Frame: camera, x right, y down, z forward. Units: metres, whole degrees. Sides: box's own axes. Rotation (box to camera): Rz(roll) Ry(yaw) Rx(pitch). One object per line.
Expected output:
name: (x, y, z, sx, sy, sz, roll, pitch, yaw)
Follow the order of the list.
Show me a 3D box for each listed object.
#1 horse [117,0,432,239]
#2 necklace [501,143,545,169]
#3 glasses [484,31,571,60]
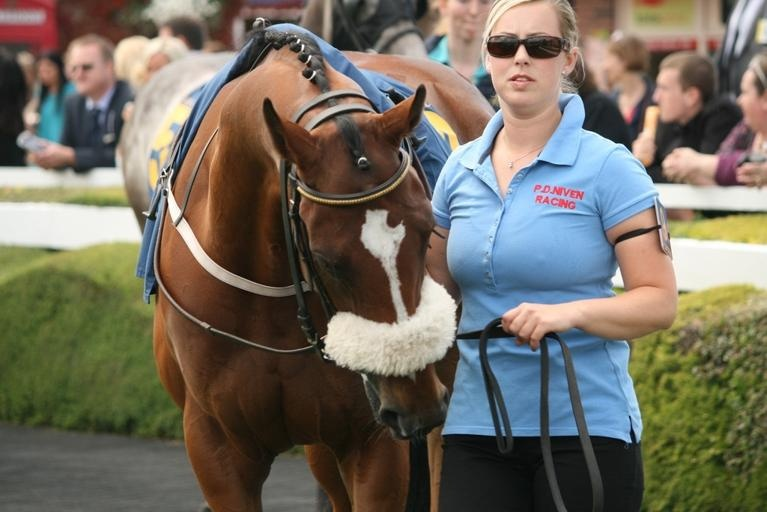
horse: (-1.111, -0.977, 9.926, 0.911, 1.738, 3.116, -3, 6, -19)
necklace: (0.640, -0.451, 5.951, 0.035, 0.079, 0.236, 8, -18, -40)
glasses: (0.631, -0.938, 5.887, 0.332, 0.107, 0.054, 3, 13, 5)
